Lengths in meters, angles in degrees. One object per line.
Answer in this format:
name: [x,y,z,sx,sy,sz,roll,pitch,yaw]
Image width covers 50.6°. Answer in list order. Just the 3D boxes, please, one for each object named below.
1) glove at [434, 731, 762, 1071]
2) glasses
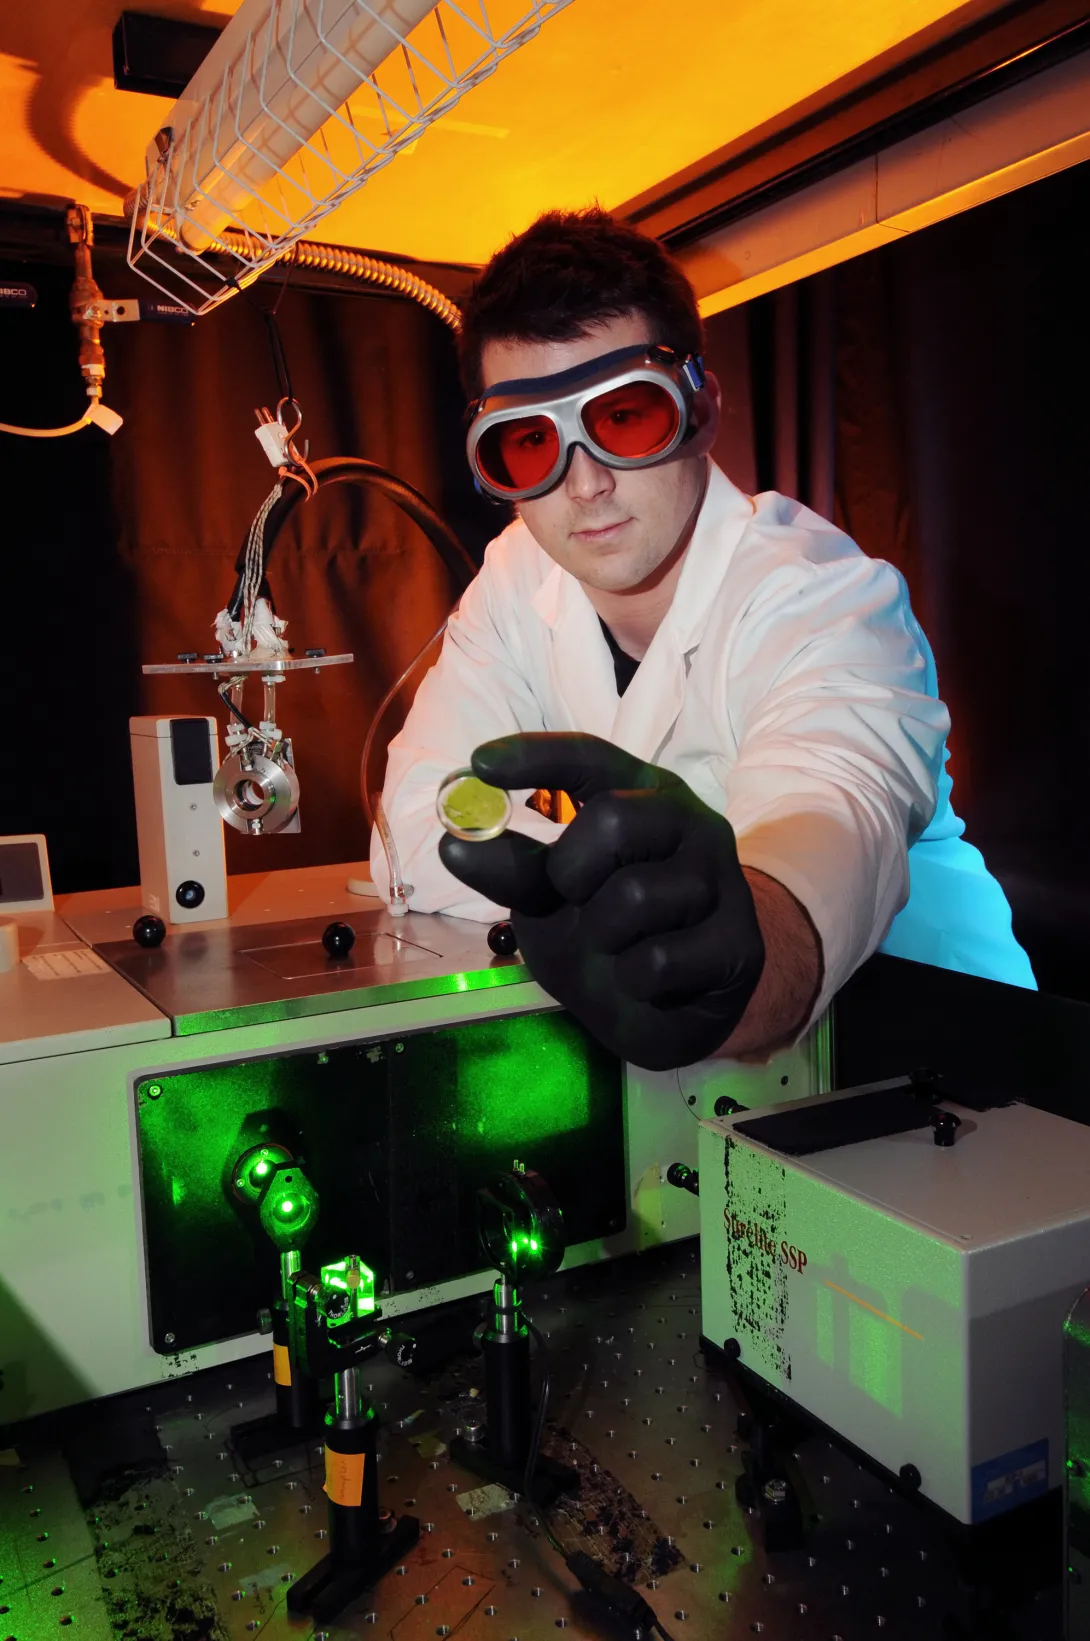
glove: [0.006,0.025,0.511,0.089,0.139,0.128,12,9,26]
glasses: [0.022,-0.406,1.185,0.234,0.139,0.119,0,5,18]
